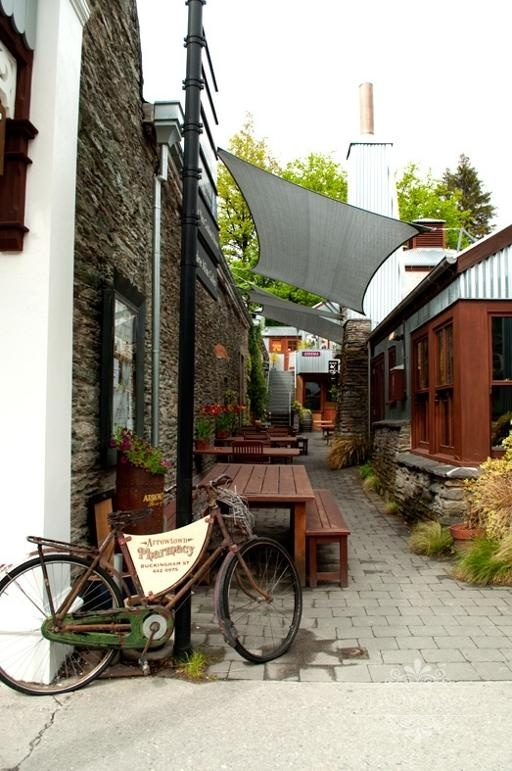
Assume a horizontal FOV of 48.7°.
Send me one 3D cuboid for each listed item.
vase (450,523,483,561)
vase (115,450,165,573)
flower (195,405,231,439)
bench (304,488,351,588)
[{"bbox_3d":[1.851,1.360,4.969,0.229,0.211,0.235,5,-9,-3],"label":"vase"},{"bbox_3d":[-0.832,0.805,4.134,0.343,0.594,0.343,-1,2,-36],"label":"vase"},{"bbox_3d":[-0.848,0.645,10.684,0.528,0.403,0.456,-3,-4,30],"label":"flower"},{"bbox_3d":[0.623,1.253,4.865,0.380,0.709,1.542,0,-6,6],"label":"bench"}]
